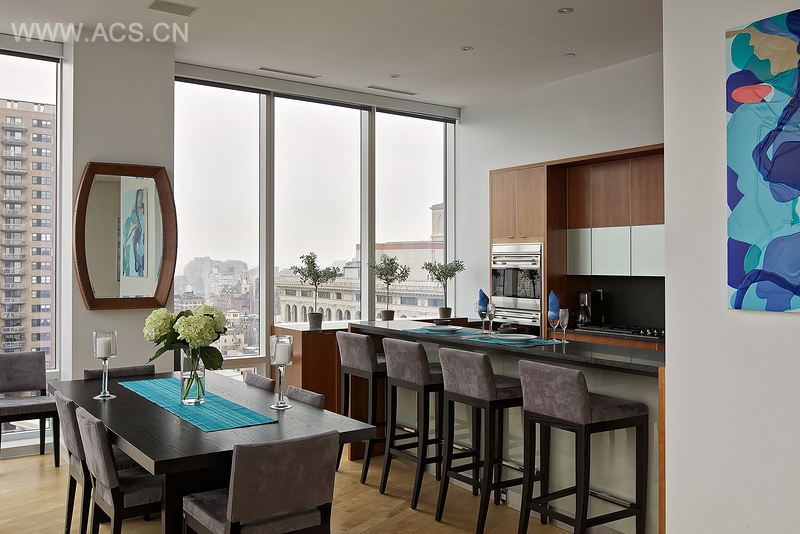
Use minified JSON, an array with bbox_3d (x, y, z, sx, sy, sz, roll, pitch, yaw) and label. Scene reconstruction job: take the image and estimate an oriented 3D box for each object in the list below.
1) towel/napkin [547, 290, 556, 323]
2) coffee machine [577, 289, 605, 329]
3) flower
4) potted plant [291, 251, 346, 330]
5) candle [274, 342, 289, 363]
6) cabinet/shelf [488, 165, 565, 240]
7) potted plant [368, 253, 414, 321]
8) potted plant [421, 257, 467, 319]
[{"bbox_3d":[1.155,0.291,4.547,0.070,0.218,0.219,-1,0,13],"label":"towel/napkin"},{"bbox_3d":[2.160,0.448,6.806,0.296,0.399,0.159,-1,0,4],"label":"coffee machine"},{"bbox_3d":[-1.379,0.542,4.081,0.599,0.665,0.542,-3,-4,43],"label":"flower"},{"bbox_3d":[-0.997,0.261,6.767,0.493,0.844,0.521,-1,0,24],"label":"potted plant"},{"bbox_3d":[-0.751,0.546,3.859,0.113,0.129,0.112,1,-2,-27],"label":"candle"},{"bbox_3d":[1.494,-0.754,6.944,0.353,0.866,0.902,2,-2,-35],"label":"cabinet/shelf"},{"bbox_3d":[-0.211,0.184,7.128,0.624,0.879,0.645,2,-2,-25],"label":"potted plant"},{"bbox_3d":[0.460,0.249,7.688,0.710,0.813,0.612,0,-1,-20],"label":"potted plant"}]
